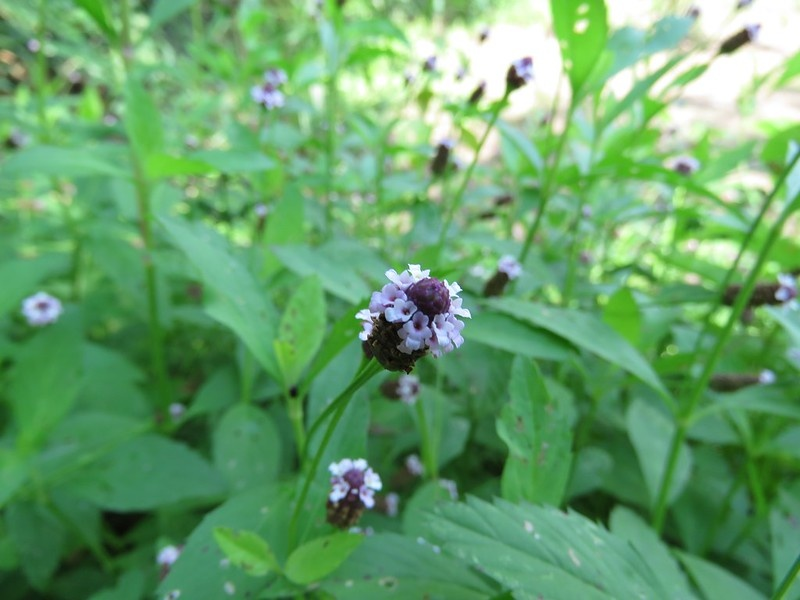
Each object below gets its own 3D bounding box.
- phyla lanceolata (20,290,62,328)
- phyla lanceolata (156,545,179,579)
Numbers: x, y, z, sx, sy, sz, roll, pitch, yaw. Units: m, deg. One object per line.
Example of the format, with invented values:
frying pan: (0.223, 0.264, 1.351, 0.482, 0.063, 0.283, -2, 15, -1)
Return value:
phyla lanceolata: (-0.670, 0.021, 1.207, 0.065, 0.048, 0.034, 21, 4, -5)
phyla lanceolata: (-0.419, 0.466, 1.155, 0.039, 0.054, 0.018, 5, -15, 34)
